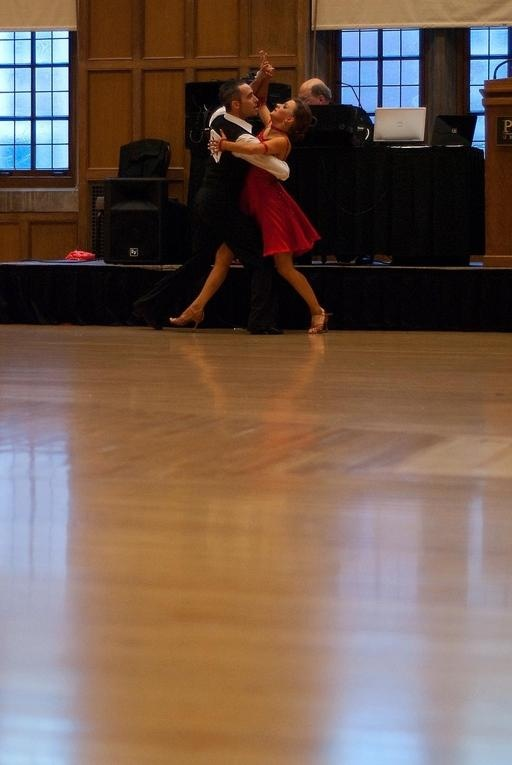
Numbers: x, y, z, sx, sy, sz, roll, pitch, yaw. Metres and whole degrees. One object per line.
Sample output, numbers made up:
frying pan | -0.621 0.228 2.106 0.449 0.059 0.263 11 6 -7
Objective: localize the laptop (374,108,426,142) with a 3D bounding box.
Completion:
laptop | 0.823 -1.447 4.532 0.274 0.199 0.198 3 9 10

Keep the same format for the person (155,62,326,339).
person | 0.034 -0.887 3.880 0.683 1.291 0.603 0 4 -10

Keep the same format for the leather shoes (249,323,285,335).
leather shoes | 0.060 -0.264 3.920 0.171 0.077 0.062 0 7 -4

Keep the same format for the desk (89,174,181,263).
desk | -0.691 -1.023 5.104 0.623 0.526 0.632 7 11 36
